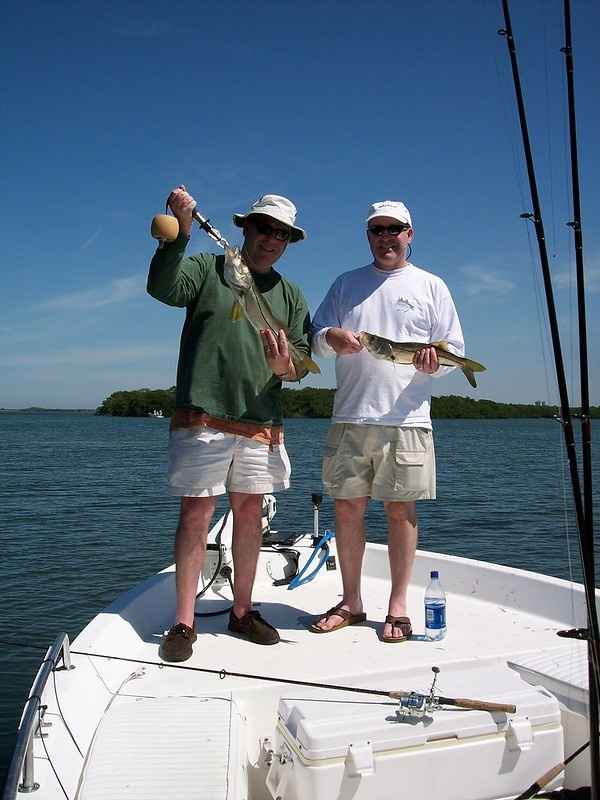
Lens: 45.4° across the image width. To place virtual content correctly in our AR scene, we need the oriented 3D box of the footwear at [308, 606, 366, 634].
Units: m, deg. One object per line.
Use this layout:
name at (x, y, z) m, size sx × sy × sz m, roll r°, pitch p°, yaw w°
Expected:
footwear at (0.177, 1.027, 3.356) m, size 0.265 × 0.088 × 0.092 m, roll -1°, pitch -7°, yaw -26°

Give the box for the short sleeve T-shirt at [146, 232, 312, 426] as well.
short sleeve T-shirt at (-0.298, -0.303, 3.113) m, size 0.842 × 0.767 × 0.446 m, roll 10°, pitch -16°, yaw -32°

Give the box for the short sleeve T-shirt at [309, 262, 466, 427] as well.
short sleeve T-shirt at (0.416, -0.286, 3.497) m, size 0.819 × 0.736 × 0.427 m, roll 4°, pitch 5°, yaw 11°

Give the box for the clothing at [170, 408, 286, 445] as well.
clothing at (-0.332, 0.129, 3.253) m, size 0.365 × 0.087 × 0.204 m, roll 6°, pitch 2°, yaw -30°

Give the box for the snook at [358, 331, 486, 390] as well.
snook at (0.479, -0.172, 3.200) m, size 0.676 × 0.227 × 0.126 m, roll 11°, pitch -29°, yaw 1°

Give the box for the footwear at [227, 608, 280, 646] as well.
footwear at (-0.208, 1.028, 3.250) m, size 0.260 × 0.102 × 0.098 m, roll 3°, pitch -3°, yaw 44°

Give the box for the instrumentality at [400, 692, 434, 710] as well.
instrumentality at (0.329, 0.858, 2.034) m, size 0.070 × 0.029 × 0.048 m, roll 1°, pitch 9°, yaw -9°
